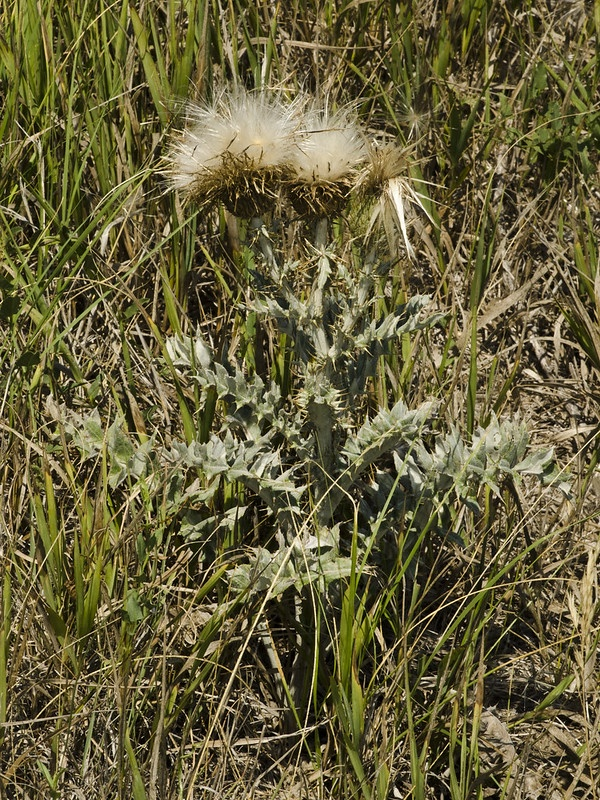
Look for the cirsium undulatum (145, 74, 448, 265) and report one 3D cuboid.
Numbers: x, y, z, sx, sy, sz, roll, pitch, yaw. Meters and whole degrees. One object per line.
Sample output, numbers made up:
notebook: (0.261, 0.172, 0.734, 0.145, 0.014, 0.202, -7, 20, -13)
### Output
cirsium undulatum: (-0.022, -0.370, 1.374, 0.292, 0.235, 0.313, 26, 39, 33)
